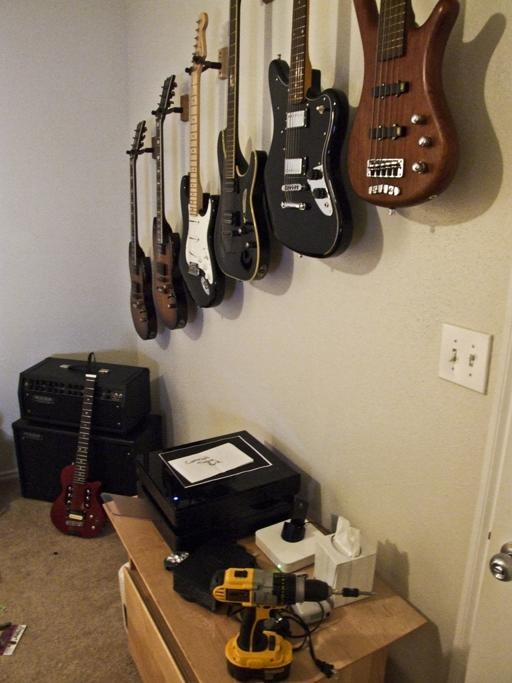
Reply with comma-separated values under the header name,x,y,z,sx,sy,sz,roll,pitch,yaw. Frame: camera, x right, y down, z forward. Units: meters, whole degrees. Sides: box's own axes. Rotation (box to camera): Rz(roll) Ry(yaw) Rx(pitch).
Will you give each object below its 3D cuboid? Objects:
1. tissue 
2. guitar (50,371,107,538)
name,x,y,z,sx,sy,sz,roll,pitch,yaw
tissue ,0.192,0.461,1.257,0.095,0.175,0.100,-10,22,-29
guitar,-0.699,0.469,2.437,0.227,0.635,0.279,6,15,19
